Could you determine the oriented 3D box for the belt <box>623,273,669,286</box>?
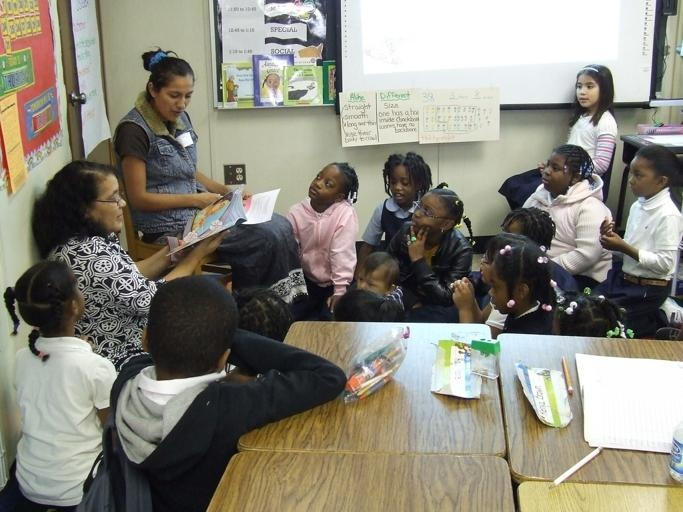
[{"bbox_3d":[1.610,0.131,2.730,0.212,0.050,0.066,12,22,38],"label":"belt"}]

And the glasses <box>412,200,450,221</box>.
[{"bbox_3d":[0.447,-0.219,2.525,0.117,0.127,0.036,12,38,22],"label":"glasses"}]

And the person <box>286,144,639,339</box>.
[{"bbox_3d":[0.821,-0.154,2.755,1.727,1.156,0.804,-3,10,-12],"label":"person"}]

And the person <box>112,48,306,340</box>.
[{"bbox_3d":[-0.731,-0.325,2.885,0.879,1.583,0.585,4,26,7],"label":"person"}]
